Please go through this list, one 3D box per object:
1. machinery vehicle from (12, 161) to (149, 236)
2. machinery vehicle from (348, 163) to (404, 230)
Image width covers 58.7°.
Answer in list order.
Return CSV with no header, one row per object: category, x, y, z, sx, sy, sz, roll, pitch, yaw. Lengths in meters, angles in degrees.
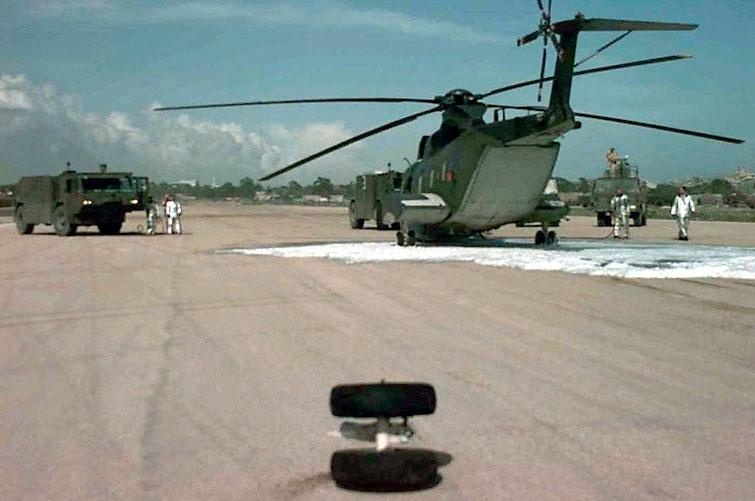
machinery vehicle,-12.270,-1.957,27.474,3.316,3.066,6.379,1,-2,-39
machinery vehicle,0.337,-2.527,32.361,2.505,2.750,4.559,-5,6,-25
